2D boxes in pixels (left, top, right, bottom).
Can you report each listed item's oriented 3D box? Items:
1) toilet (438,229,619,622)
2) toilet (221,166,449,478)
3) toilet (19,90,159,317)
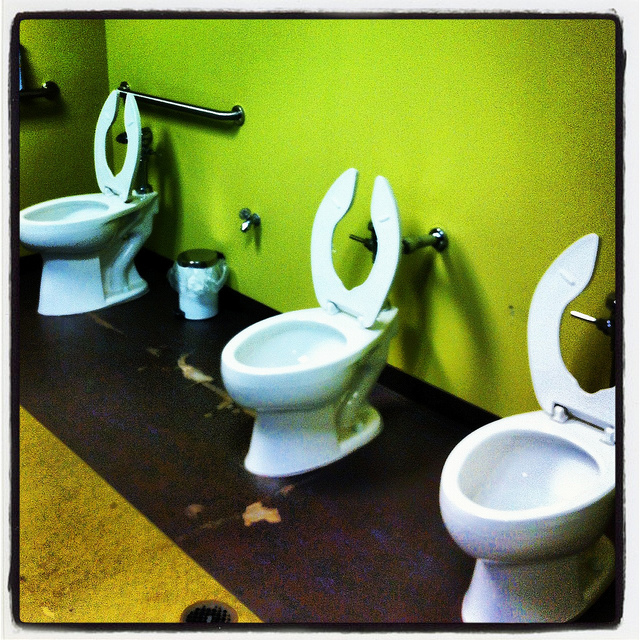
[{"bbox_3d":[0.367,0.195,0.994,0.355,0.606,0.237,-14,21,-36],"label":"toilet"},{"bbox_3d":[0.009,-0.004,1.459,0.494,0.683,0.276,-14,26,-38],"label":"toilet"},{"bbox_3d":[-0.839,-0.443,2.175,0.551,0.812,0.382,-16,30,-39],"label":"toilet"}]
